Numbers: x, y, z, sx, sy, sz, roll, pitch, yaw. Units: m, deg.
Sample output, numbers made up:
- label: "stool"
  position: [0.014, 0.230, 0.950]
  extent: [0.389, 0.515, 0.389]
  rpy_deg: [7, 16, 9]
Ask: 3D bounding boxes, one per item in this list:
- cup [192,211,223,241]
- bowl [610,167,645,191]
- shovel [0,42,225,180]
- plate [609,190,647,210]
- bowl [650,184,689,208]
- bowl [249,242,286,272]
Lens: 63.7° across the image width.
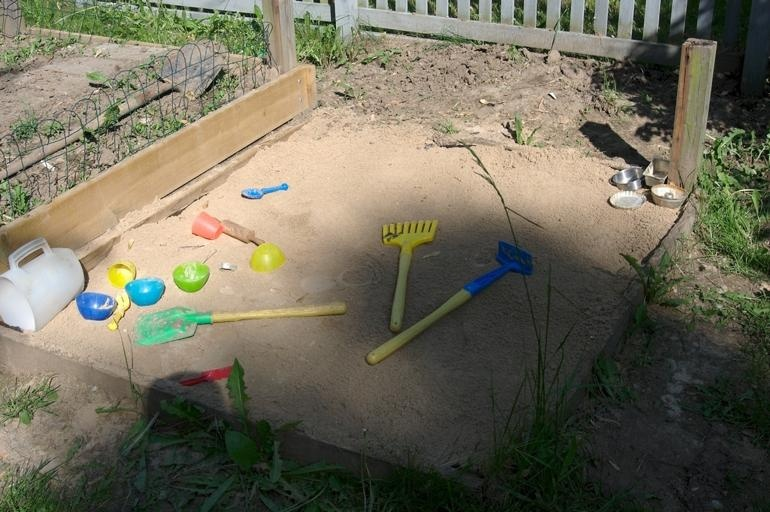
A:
- label: "cup"
  position: [-1.273, -0.187, 4.549]
  extent: [0.199, 0.177, 0.201]
  rpy_deg: [-3, 81, 21]
- label: "bowl"
  position: [1.880, -0.589, 4.776]
  extent: [0.246, 0.088, 0.288]
  rpy_deg: [13, 43, 16]
- label: "shovel"
  position: [-2.124, -1.494, 5.607]
  extent: [2.805, 0.383, 0.698]
  rpy_deg: [-31, 63, -33]
- label: "plate"
  position: [1.802, -0.415, 4.598]
  extent: [0.277, 0.030, 0.200]
  rpy_deg: [-5, 41, -3]
- label: "bowl"
  position: [2.100, -0.440, 4.569]
  extent: [0.188, 0.077, 0.188]
  rpy_deg: [-2, 42, 2]
- label: "bowl"
  position: [-0.801, 0.014, 4.210]
  extent: [0.189, 0.075, 0.192]
  rpy_deg: [1, 49, -1]
